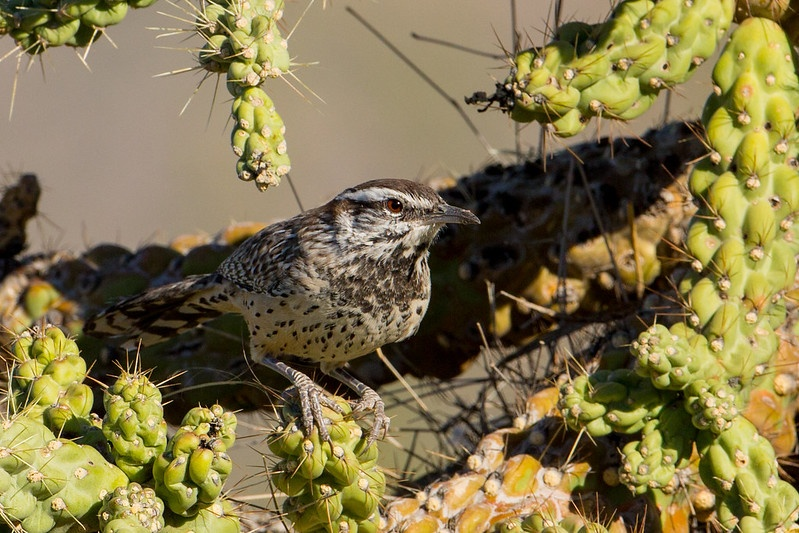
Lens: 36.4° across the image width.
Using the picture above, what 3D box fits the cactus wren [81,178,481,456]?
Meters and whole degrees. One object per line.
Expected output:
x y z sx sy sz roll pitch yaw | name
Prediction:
-0.518 0.004 5.179 0.682 1.832 0.963 5 -82 -51 | cactus wren
